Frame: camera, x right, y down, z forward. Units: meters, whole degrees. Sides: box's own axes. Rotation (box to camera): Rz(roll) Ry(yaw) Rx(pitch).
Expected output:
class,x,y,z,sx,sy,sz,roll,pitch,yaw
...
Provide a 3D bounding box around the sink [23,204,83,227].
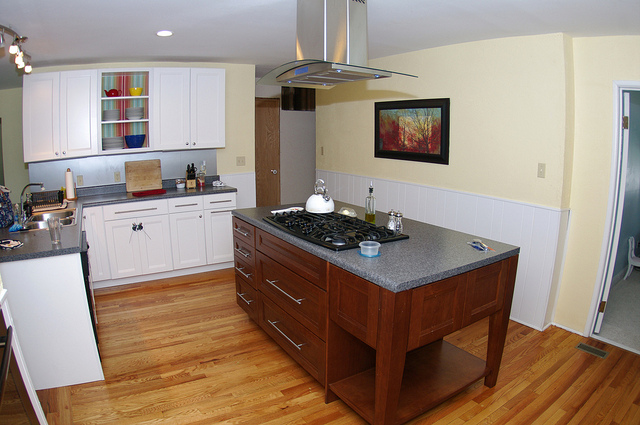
class,x,y,z,sx,sy,sz,roll,pitch,yaw
sink,-2.896,0.041,4.762,0.518,0.172,0.996,-10,14,-27

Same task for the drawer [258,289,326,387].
class,x,y,z,sx,sy,sz,roll,pitch,yaw
drawer,-0.243,1.182,4.057,0.319,0.310,0.899,-3,20,-37

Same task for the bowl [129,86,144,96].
class,x,y,z,sx,sy,sz,roll,pitch,yaw
bowl,-2.420,-1.584,5.749,0.125,0.076,0.125,-2,5,0

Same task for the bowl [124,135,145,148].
class,x,y,z,sx,sy,sz,roll,pitch,yaw
bowl,-2.458,-0.945,5.784,0.189,0.124,0.183,0,7,0

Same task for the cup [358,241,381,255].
class,x,y,z,sx,sy,sz,roll,pitch,yaw
cup,0.420,0.291,3.639,0.157,0.096,0.156,-3,13,1

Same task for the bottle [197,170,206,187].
class,x,y,z,sx,sy,sz,roll,pitch,yaw
bottle,-1.701,-0.487,6.218,0.105,0.229,0.206,-7,14,-13

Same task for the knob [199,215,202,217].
class,x,y,z,sx,sy,sz,roll,pitch,yaw
knob,-1.606,0.043,5.858,0.030,0.021,0.030,1,-16,16

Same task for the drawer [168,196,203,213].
class,x,y,z,sx,sy,sz,roll,pitch,yaw
drawer,-1.778,-0.098,5.749,0.300,0.123,0.240,-5,9,-32

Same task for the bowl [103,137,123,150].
class,x,y,z,sx,sy,sz,roll,pitch,yaw
bowl,-2.716,-0.893,5.718,0.189,0.117,0.190,0,7,0

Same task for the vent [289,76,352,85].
class,x,y,z,sx,sy,sz,roll,pitch,yaw
vent,-0.006,-1.249,4.134,0.515,0.060,0.319,-10,14,-27

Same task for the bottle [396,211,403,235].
class,x,y,z,sx,sy,sz,roll,pitch,yaw
bottle,0.752,0.088,4.133,0.057,0.188,0.315,-1,13,11

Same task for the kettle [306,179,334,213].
class,x,y,z,sx,sy,sz,roll,pitch,yaw
kettle,0.006,-0.181,4.573,0.322,0.313,0.309,9,20,33

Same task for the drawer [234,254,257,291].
class,x,y,z,sx,sy,sz,roll,pitch,yaw
drawer,-0.818,0.644,4.781,0.282,0.184,0.419,-1,10,-32

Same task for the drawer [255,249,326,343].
class,x,y,z,sx,sy,sz,roll,pitch,yaw
drawer,-0.241,0.749,4.027,0.630,0.456,0.974,0,13,-37

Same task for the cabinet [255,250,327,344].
class,x,y,z,sx,sy,sz,roll,pitch,yaw
cabinet,-0.268,0.766,4.065,0.628,0.470,1.022,-4,17,-41
